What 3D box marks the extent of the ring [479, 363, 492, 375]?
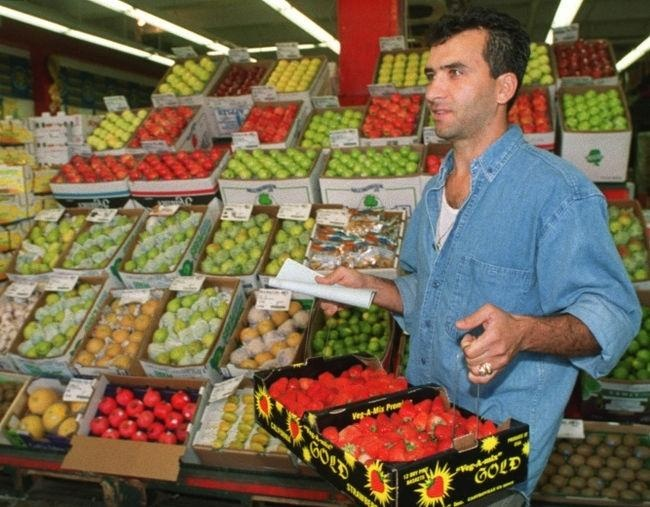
[{"bbox_3d":[0.494,0.355,1.536,0.044,0.038,0.019,-2,54,-37],"label":"ring"}]
